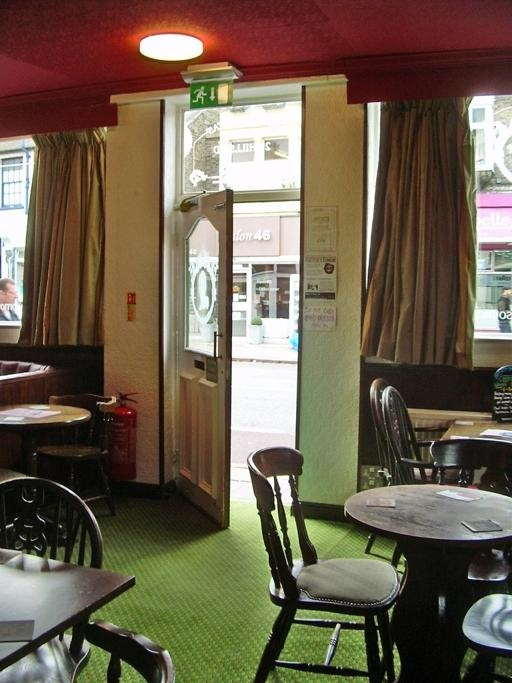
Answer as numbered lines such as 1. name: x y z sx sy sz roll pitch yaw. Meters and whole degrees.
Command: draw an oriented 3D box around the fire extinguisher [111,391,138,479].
1. fire extinguisher: -0.966 0.695 4.097 0.160 0.610 0.165 1 3 26
